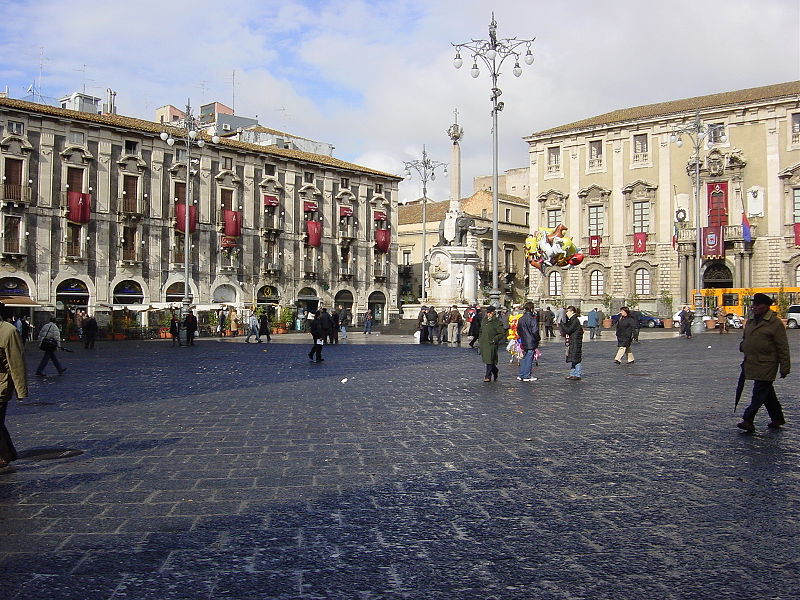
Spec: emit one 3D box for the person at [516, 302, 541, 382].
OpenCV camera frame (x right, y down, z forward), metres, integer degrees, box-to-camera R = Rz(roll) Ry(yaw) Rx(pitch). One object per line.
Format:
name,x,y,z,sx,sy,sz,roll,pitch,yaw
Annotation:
person,2.674,0.812,20.354,0.434,1.485,1.652,-1,1,8

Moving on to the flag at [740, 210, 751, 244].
flag,21.108,-4.490,59.313,0.550,1.664,1.204,-1,0,19

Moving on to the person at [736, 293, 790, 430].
person,5.029,0.772,13.336,0.777,1.995,0.818,1,7,-16

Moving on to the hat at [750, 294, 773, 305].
hat,4.959,-0.023,13.336,0.269,0.110,0.202,9,1,9

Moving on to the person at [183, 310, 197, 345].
person,-8.201,1.069,38.179,0.343,1.326,2.019,-1,1,-15
